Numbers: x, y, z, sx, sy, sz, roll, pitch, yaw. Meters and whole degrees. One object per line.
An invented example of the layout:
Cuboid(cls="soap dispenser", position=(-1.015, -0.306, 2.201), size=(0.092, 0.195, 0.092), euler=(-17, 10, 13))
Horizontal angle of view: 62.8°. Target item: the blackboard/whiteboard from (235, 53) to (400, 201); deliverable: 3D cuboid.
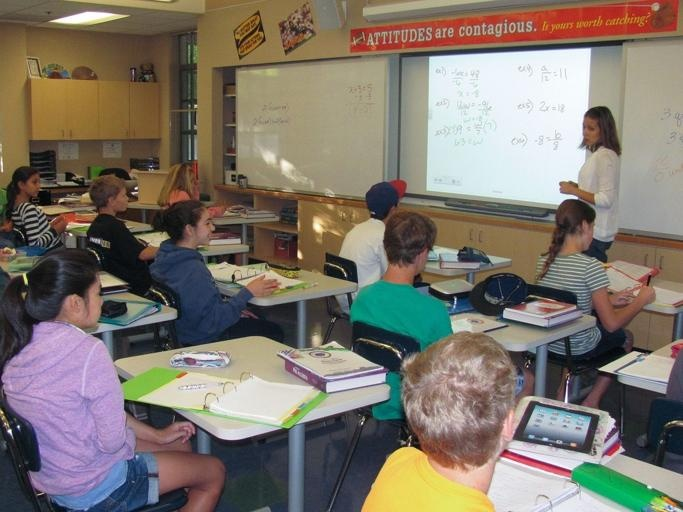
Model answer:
Cuboid(cls="blackboard/whiteboard", position=(-0.229, -1.578, 6.613), size=(2.475, 1.421, 1.251), euler=(6, 9, 40))

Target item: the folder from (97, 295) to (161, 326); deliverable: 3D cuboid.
Cuboid(cls="folder", position=(-1.119, 0.282, 2.933), size=(0.189, 0.040, 0.185), euler=(9, 16, 27))

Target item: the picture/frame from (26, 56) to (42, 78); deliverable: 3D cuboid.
Cuboid(cls="picture/frame", position=(-4.703, -2.881, 8.472), size=(0.081, 0.290, 0.321), euler=(-3, -1, 35))

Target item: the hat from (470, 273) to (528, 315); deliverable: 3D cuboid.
Cuboid(cls="hat", position=(0.885, 0.197, 3.057), size=(0.340, 0.192, 0.278), euler=(1, 12, 5))

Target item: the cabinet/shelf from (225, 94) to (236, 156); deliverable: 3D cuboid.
Cuboid(cls="cabinet/shelf", position=(-1.628, -1.905, 8.130), size=(0.176, 0.882, 0.356), euler=(-2, 12, -11))

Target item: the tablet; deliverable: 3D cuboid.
Cuboid(cls="tablet", position=(0.678, 0.507, 1.776), size=(0.290, 0.070, 0.230), euler=(7, 9, 29))

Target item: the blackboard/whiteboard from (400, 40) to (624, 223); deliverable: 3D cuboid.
Cuboid(cls="blackboard/whiteboard", position=(1.576, -1.258, 5.222), size=(0.162, 1.401, 2.786), euler=(-7, 18, -41))
